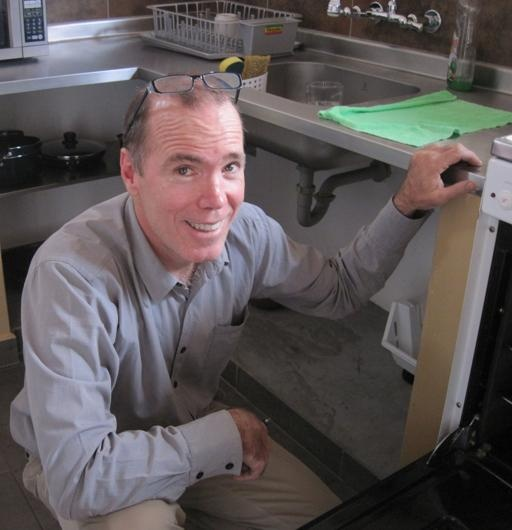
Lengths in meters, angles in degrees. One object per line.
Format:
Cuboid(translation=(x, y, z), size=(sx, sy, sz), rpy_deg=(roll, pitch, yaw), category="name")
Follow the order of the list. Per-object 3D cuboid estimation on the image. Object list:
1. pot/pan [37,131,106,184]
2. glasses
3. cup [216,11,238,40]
Cuboid(translation=(-0.717, -0.415, 1.880), size=(0.209, 0.100, 0.234), rpy_deg=(-1, 29, -4), category="pot/pan")
Cuboid(translation=(-0.091, -0.272, 0.786), size=(0.220, 0.115, 0.114), rpy_deg=(-8, 11, -39), category="glasses")
Cuboid(translation=(-0.109, -0.924, 1.856), size=(0.076, 0.096, 0.095), rpy_deg=(2, 25, -2), category="cup")
